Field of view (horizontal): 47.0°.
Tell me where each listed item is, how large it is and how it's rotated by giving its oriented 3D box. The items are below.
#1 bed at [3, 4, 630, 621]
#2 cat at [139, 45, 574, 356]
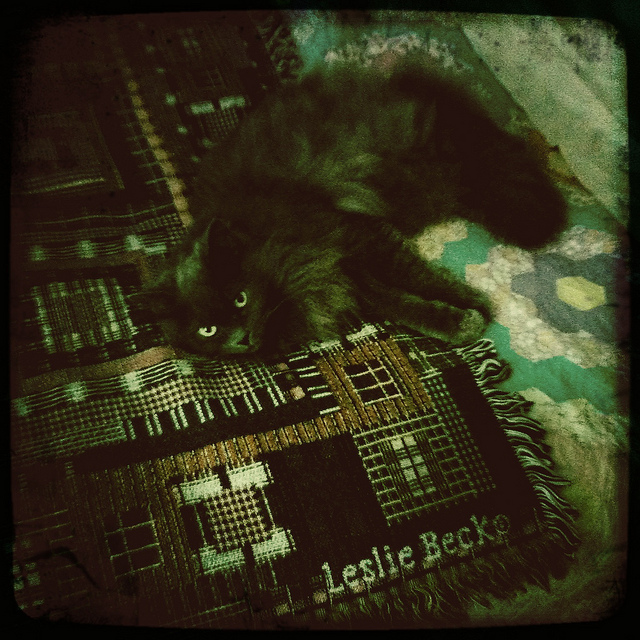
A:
[{"bbox_3d":[-0.011,-0.060,1.754,1.515,0.412,1.454,2,73,-8],"label":"bed"},{"bbox_3d":[0.067,-0.311,1.801,0.688,0.322,0.830,36,87,10],"label":"cat"}]
